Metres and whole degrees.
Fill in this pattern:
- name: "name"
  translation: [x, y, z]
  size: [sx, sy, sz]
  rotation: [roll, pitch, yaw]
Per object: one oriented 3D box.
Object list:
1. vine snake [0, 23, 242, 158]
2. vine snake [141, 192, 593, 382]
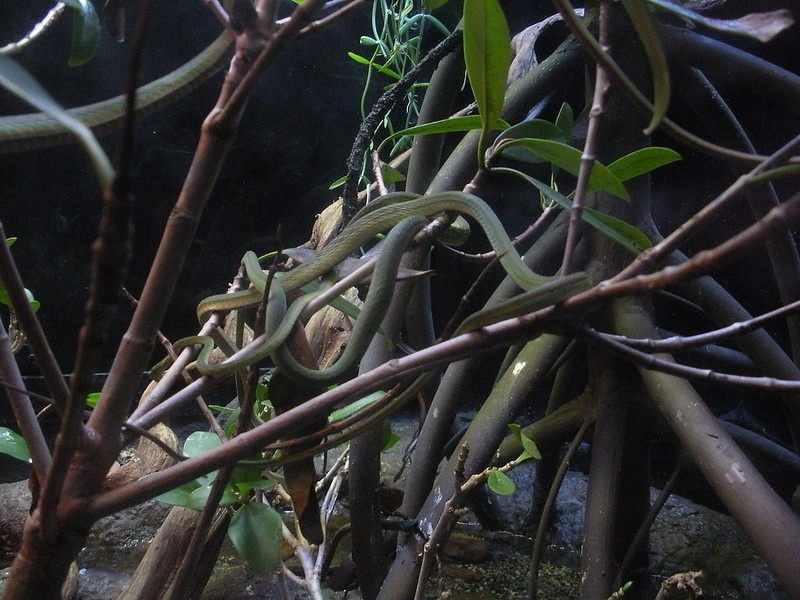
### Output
- name: "vine snake"
  translation: [-0.876, -0.633, 2.292]
  size: [0.678, 0.497, 0.108]
  rotation: [5, -30, 16]
- name: "vine snake"
  translation: [-0.129, 0.068, 2.486]
  size: [1.098, 0.733, 0.316]
  rotation: [-27, -69, 1]
